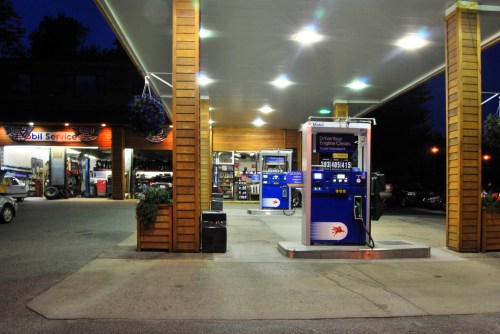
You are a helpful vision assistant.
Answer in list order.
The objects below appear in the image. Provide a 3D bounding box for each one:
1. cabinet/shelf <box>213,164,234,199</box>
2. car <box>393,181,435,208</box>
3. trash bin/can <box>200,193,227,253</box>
[{"bbox_3d":[-1.700,0.900,28.960,1.284,2.240,1.517,1,-2,-6],"label":"cabinet/shelf"},{"bbox_3d":[9.136,1.513,25.307,1.053,1.015,2.285,0,-5,-3],"label":"car"},{"bbox_3d":[-1.091,1.887,14.274,1.148,2.287,1.057,0,0,0],"label":"trash bin/can"}]
